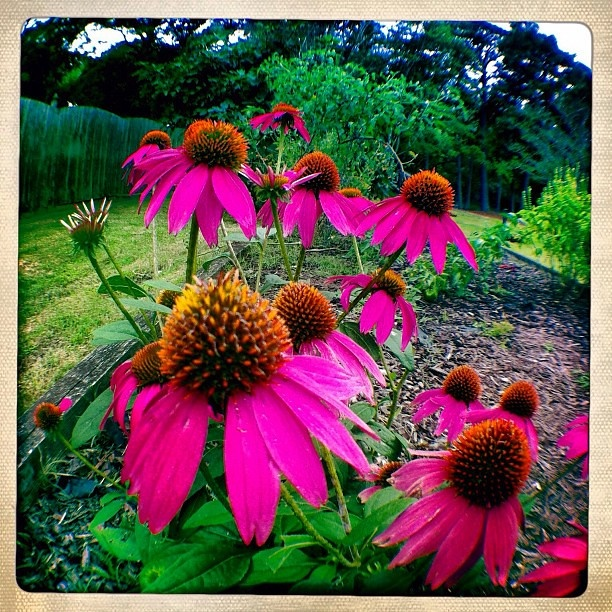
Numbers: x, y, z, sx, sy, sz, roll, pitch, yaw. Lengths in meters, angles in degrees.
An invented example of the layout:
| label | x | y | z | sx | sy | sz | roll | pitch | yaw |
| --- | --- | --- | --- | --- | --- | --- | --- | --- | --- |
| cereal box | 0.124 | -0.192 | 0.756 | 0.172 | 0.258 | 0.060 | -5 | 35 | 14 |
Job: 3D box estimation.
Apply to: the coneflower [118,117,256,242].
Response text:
| label | x | y | z | sx | sy | sz | roll | pitch | yaw |
| --- | --- | --- | --- | --- | --- | --- | --- | --- | --- |
| coneflower | -0.277 | -0.279 | 1.060 | 0.308 | 0.171 | 0.312 | -16 | 48 | -28 |

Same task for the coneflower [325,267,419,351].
| label | x | y | z | sx | sy | sz | roll | pitch | yaw |
| --- | --- | --- | --- | --- | --- | --- | --- | --- | --- |
| coneflower | 0.214 | -0.001 | 1.251 | 0.229 | 0.137 | 0.234 | 31 | 21 | 4 |

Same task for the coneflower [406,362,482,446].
| label | x | y | z | sx | sy | sz | roll | pitch | yaw |
| --- | --- | --- | --- | --- | --- | --- | --- | --- | --- |
| coneflower | 0.437 | 0.313 | 1.259 | 0.211 | 0.109 | 0.213 | -9 | 31 | -13 |

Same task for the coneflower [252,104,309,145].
| label | x | y | z | sx | sy | sz | roll | pitch | yaw |
| --- | --- | --- | --- | --- | --- | --- | --- | --- | --- |
| coneflower | -0.078 | -0.575 | 1.292 | 0.148 | 0.077 | 0.147 | 15 | 15 | 0 |

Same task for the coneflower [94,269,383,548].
| label | x | y | z | sx | sy | sz | roll | pitch | yaw |
| --- | --- | --- | --- | --- | --- | --- | --- | --- | --- |
| coneflower | -0.105 | 0.119 | 0.762 | 0.441 | 0.328 | 0.484 | -6 | 30 | -3 |

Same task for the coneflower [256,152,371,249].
| label | x | y | z | sx | sy | sz | roll | pitch | yaw |
| --- | --- | --- | --- | --- | --- | --- | --- | --- | --- |
| coneflower | 0.013 | -0.288 | 1.231 | 0.284 | 0.233 | 0.291 | -6 | 30 | -16 |

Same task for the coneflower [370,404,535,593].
| label | x | y | z | sx | sy | sz | roll | pitch | yaw |
| --- | --- | --- | --- | --- | --- | --- | --- | --- | --- |
| coneflower | 0.315 | 0.415 | 0.896 | 0.343 | 0.334 | 0.145 | 2 | 9 | -5 |

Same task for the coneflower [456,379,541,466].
| label | x | y | z | sx | sy | sz | roll | pitch | yaw |
| --- | --- | --- | --- | --- | --- | --- | --- | --- | --- |
| coneflower | 0.577 | 0.317 | 1.243 | 0.195 | 0.143 | 0.217 | 5 | 16 | -18 |

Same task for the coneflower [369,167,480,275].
| label | x | y | z | sx | sy | sz | roll | pitch | yaw |
| --- | --- | --- | --- | --- | --- | --- | --- | --- | --- |
| coneflower | 0.346 | -0.248 | 1.151 | 0.305 | 0.209 | 0.368 | 16 | 27 | 5 |
